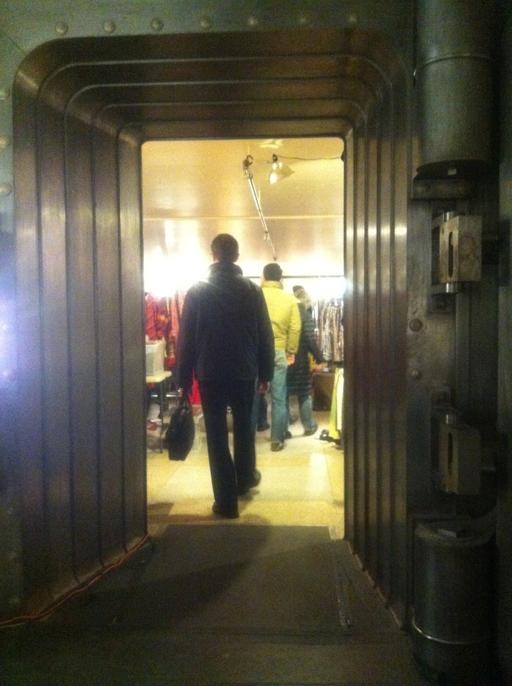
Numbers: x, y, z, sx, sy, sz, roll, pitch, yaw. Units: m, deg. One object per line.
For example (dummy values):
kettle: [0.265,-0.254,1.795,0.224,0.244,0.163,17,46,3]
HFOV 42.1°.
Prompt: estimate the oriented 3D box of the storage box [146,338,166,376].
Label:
storage box: [-0.706,0.106,4.709,0.133,0.188,0.249,1,0,3]

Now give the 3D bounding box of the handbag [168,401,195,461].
handbag: [-0.356,0.437,3.174,0.118,0.312,0.261,0,4,-6]

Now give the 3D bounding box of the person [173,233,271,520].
person: [-0.129,0.148,3.354,0.325,1.387,0.526,2,4,26]
